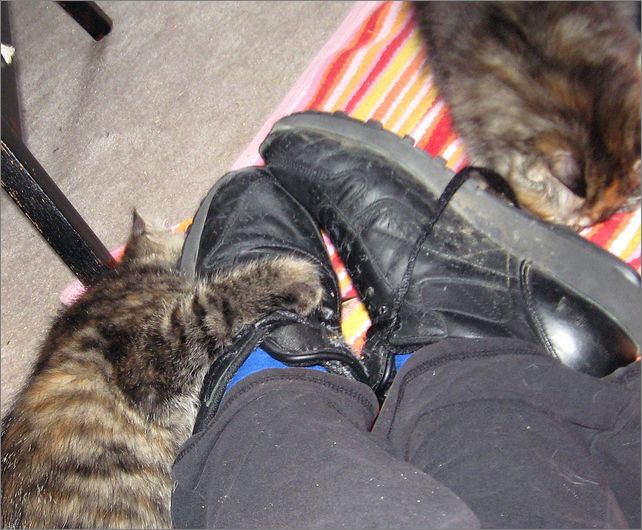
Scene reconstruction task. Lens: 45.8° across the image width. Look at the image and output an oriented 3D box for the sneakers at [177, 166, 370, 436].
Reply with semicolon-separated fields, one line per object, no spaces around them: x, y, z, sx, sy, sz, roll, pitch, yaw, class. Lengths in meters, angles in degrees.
-0.101;-0.013;1.239;0.173;0.209;0.557;-3;67;-18;sneakers
